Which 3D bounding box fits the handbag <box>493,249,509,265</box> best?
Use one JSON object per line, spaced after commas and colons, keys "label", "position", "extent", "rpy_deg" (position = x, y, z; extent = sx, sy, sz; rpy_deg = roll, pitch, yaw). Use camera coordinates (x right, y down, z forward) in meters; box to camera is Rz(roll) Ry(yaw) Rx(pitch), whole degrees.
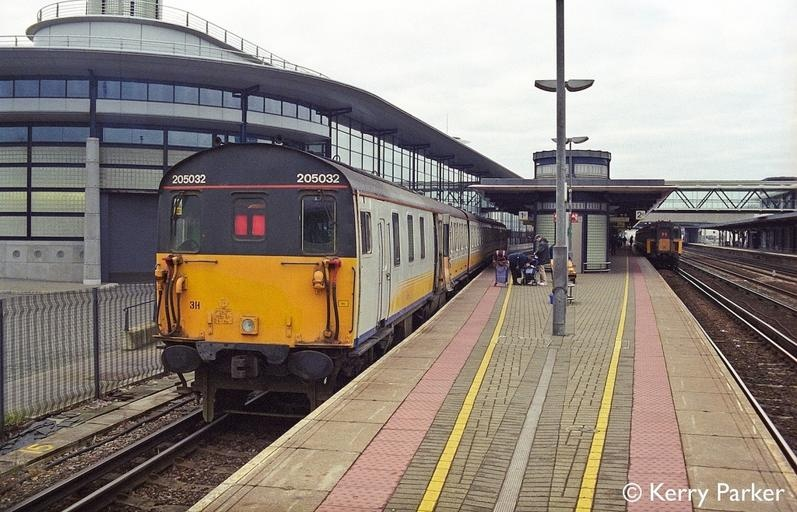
{"label": "handbag", "position": [4.305, 0.142, 28.064], "extent": [0.554, 0.718, 0.681], "rpy_deg": [-2, 10, 9]}

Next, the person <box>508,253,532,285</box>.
{"label": "person", "position": [5.242, 0.478, 29.016], "extent": [0.592, 2.053, 0.625], "rpy_deg": [8, 9, 17]}

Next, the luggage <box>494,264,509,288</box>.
{"label": "luggage", "position": [4.344, 0.847, 28.137], "extent": [0.762, 1.028, 0.835], "rpy_deg": [0, -4, 8]}

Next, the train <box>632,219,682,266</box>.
{"label": "train", "position": [22.075, -1.000, 55.649], "extent": [2.910, 4.149, 16.194], "rpy_deg": [0, 1, 13]}
